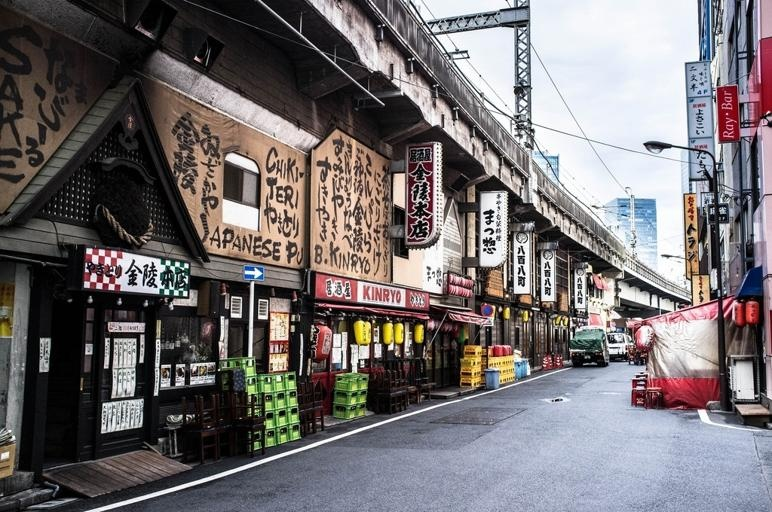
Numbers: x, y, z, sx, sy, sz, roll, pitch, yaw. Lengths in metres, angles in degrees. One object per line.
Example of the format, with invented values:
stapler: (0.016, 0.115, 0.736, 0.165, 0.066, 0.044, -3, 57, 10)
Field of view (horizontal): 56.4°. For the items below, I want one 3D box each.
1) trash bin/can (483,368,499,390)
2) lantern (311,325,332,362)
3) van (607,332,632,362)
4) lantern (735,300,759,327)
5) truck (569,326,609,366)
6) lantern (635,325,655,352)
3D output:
trash bin/can: (5.035, 5.998, 35.258, 0.801, 1.240, 0.786, 6, -11, -31)
lantern: (-2.125, 2.952, 24.077, 0.484, 1.373, 1.367, 2, 1, 5)
van: (20.884, 8.114, 64.919, 1.857, 1.955, 3.654, -1, 2, 15)
lantern: (12.707, 2.019, 25.311, 0.566, 0.894, 1.322, 2, 1, 9)
truck: (15.523, 6.801, 55.218, 1.842, 2.233, 3.594, -1, -1, 21)
lantern: (10.006, 3.095, 27.967, 0.738, 1.540, 1.042, -6, -13, 20)
